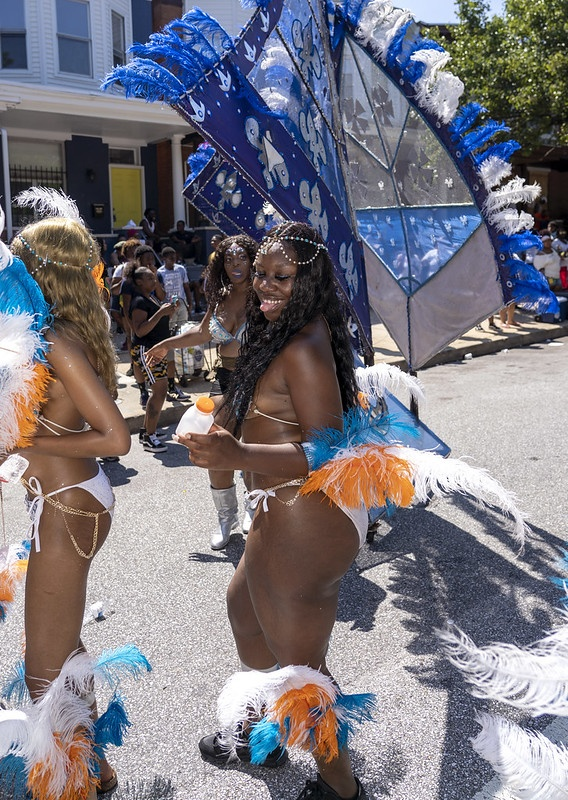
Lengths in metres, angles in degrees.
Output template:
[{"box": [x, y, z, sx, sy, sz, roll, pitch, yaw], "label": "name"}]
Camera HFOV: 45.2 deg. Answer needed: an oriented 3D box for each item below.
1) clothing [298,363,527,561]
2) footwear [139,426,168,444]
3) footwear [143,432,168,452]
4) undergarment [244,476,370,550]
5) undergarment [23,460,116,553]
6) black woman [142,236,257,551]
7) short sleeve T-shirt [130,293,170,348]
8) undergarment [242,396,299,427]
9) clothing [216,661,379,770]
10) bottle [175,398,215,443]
[{"box": [0.438, 0.158, 2.051, 0.518, 0.212, 0.578, 21, 34, 35], "label": "clothing"}, {"box": [-1.397, 0.360, 7.310, 0.381, 0.219, 0.152, -4, 1, 36], "label": "footwear"}, {"box": [-1.331, 0.447, 6.950, 0.320, 0.179, 0.124, 1, 7, 23], "label": "footwear"}, {"box": [0.063, 0.337, 2.001, 0.232, 0.264, 0.222, -43, -15, 1], "label": "undergarment"}, {"box": [-0.627, 0.305, 2.039, 0.245, 0.192, 0.211, -8, 14, -22], "label": "undergarment"}, {"box": [-0.570, -0.168, 4.734, 0.575, 1.609, 0.758, 4, 1, 13], "label": "black woman"}, {"box": [-1.447, -0.872, 7.279, 0.388, 0.583, 0.633, 1, 17, 1], "label": "short sleeve T-shirt"}, {"box": [-0.042, 0.039, 1.944, 0.121, 0.069, 0.057, 12, 57, 8], "label": "undergarment"}, {"box": [0.027, 0.868, 1.900, 0.478, 0.229, 0.295, -9, 55, -6], "label": "clothing"}, {"box": [-0.235, 0.048, 1.802, 0.092, 0.095, 0.212, -2, 10, -5], "label": "bottle"}]
